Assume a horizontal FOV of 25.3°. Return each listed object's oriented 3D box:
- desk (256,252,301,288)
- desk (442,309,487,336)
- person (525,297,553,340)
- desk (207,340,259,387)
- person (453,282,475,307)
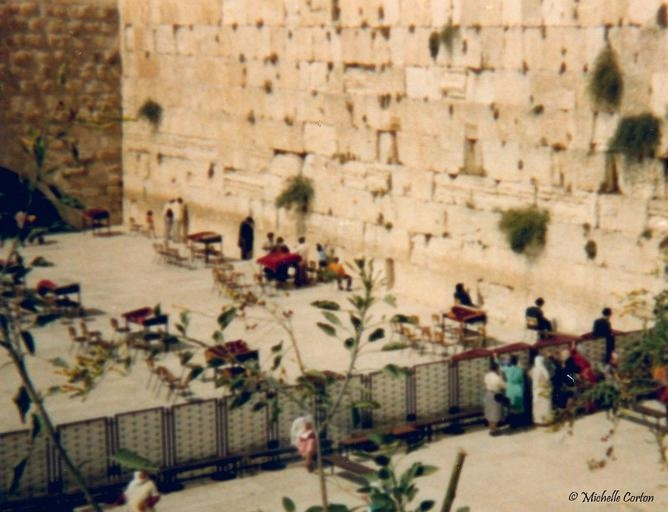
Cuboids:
[{"bbox_3d":[-1.130,0.210,29.609,0.631,0.638,0.805,-3,6,-41],"label":"desk"},{"bbox_3d":[2.399,1.170,26.867,0.477,0.474,0.682,-12,19,-30],"label":"desk"},{"bbox_3d":[3.706,1.122,26.889,0.382,0.686,0.802,-3,7,-20],"label":"person"},{"bbox_3d":[-1.674,1.904,23.679,0.868,1.033,0.766,-1,-10,5],"label":"desk"},{"bbox_3d":[2.414,0.735,27.667,0.386,0.470,0.813,0,7,5],"label":"person"}]
